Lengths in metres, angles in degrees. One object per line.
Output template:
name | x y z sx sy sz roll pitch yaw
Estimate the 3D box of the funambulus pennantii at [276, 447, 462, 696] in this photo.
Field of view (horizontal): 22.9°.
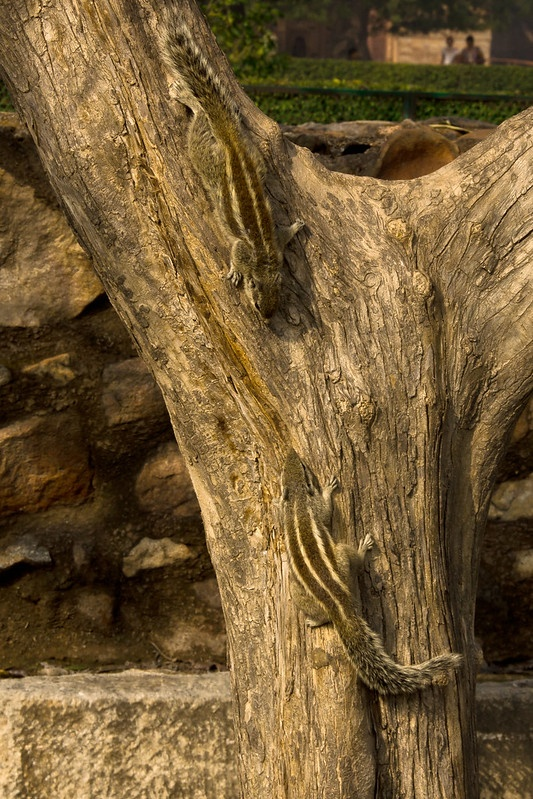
funambulus pennantii | 0.295 0.648 4.922 0.449 0.302 1.073 -17 49 -12
